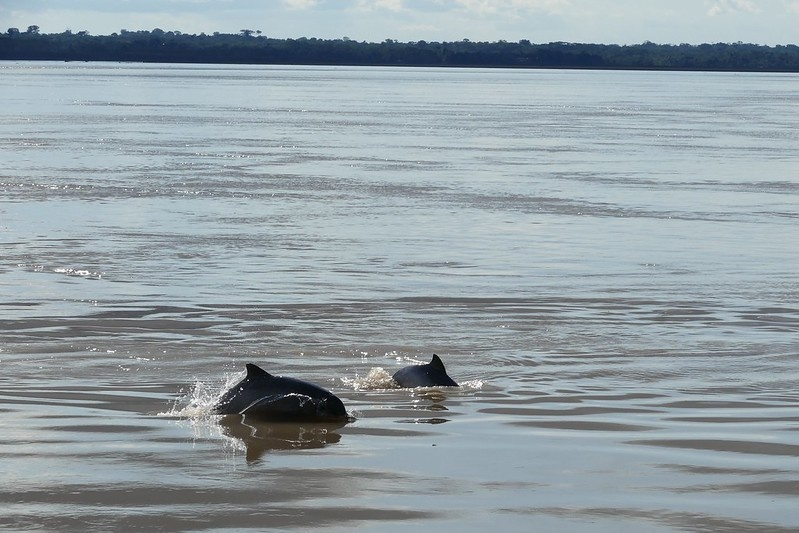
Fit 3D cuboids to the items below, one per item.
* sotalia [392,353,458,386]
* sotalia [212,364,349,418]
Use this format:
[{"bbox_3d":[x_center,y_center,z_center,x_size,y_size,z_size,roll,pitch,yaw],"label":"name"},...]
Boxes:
[{"bbox_3d":[0.379,1.591,22.792,0.618,0.825,0.245,6,85,-46],"label":"sotalia"},{"bbox_3d":[-1.828,1.854,22.000,2.499,1.485,0.579,-3,89,22],"label":"sotalia"}]
